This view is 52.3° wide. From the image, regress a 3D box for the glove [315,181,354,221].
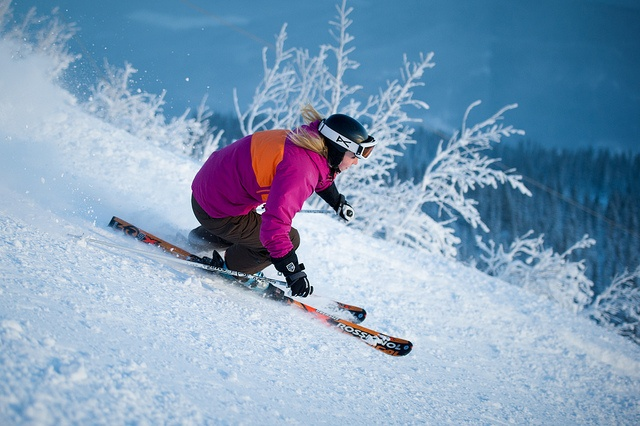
[{"bbox_3d":[0.253,-0.128,10.144,0.667,0.413,0.239,41,-26,-8],"label":"glove"}]
